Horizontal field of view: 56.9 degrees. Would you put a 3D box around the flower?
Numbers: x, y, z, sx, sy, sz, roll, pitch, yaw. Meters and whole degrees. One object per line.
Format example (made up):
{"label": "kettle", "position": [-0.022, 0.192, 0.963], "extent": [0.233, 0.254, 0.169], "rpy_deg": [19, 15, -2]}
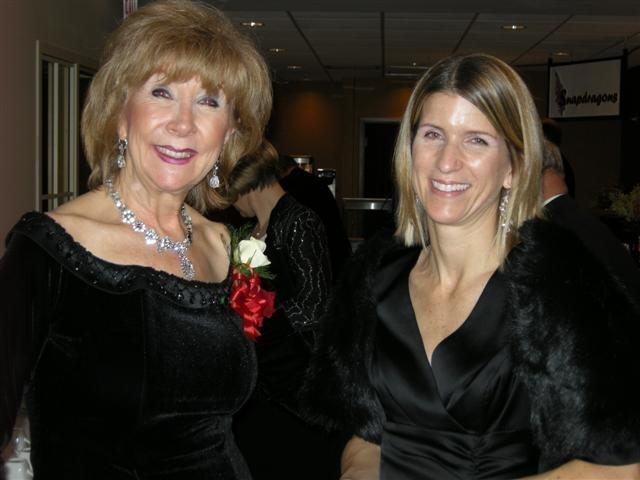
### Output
{"label": "flower", "position": [-0.260, 0.057, 2.339], "extent": [0.198, 0.105, 0.214], "rpy_deg": [31, 2, 40]}
